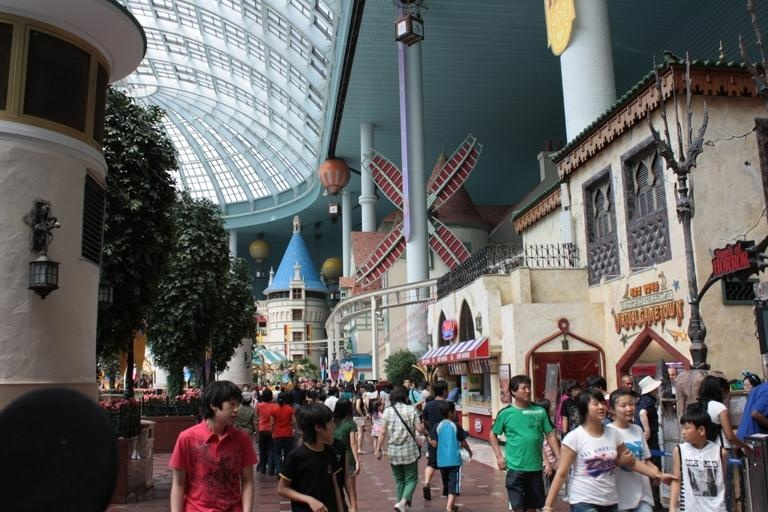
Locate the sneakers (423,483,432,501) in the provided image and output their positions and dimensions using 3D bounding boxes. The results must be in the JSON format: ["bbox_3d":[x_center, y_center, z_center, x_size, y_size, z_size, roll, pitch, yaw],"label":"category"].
[{"bbox_3d":[0.811,4.424,13.156,0.111,0.352,0.137,-3,5,5],"label":"sneakers"}]

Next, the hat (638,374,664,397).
[{"bbox_3d":[4.330,2.116,11.497,0.268,0.284,0.588,-6,-13,21],"label":"hat"}]

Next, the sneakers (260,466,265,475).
[{"bbox_3d":[-2.817,5.037,16.457,0.134,0.161,0.139,8,-16,-38],"label":"sneakers"}]

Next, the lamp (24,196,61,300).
[{"bbox_3d":[-5.637,-0.147,11.659,0.531,1.640,0.442,8,-15,-39],"label":"lamp"}]
